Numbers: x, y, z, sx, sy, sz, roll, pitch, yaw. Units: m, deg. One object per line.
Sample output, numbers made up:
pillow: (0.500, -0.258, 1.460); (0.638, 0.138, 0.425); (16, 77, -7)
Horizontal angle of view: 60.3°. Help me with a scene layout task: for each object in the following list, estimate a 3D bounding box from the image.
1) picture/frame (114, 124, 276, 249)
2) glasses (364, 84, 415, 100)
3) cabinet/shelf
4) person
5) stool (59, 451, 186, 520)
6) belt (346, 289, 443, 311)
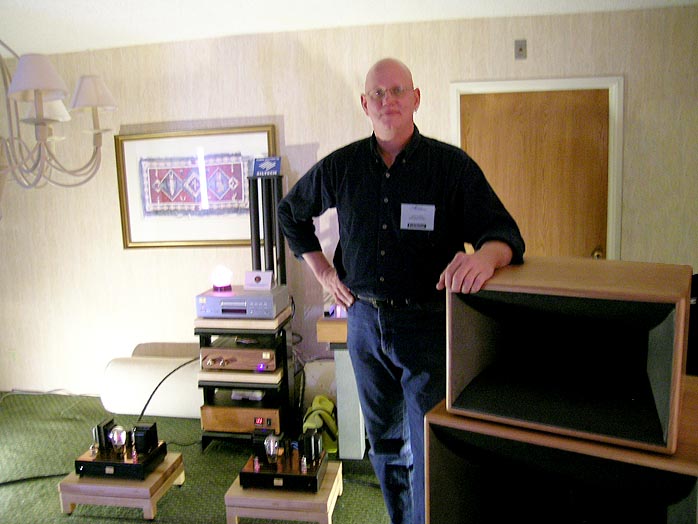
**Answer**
picture/frame: (-1.072, -0.582, 4.385); (0.837, 0.655, 0.034); (0, 8, 3)
glasses: (0.177, -0.732, 2.614); (0.200, 0.066, 0.071); (-3, 8, -1)
cabinet/shelf: (-0.708, 0.758, 4.109); (0.598, 0.879, 0.691); (1, 8, 13)
person: (0.260, 0.149, 2.725); (0.522, 2.087, 1.256); (-8, 9, -34)
stool: (-1.266, 1.237, 3.354); (0.415, 0.181, 0.427); (1, 7, 11)
belt: (0.220, 0.167, 2.622); (0.384, 0.074, 0.071); (0, 8, 20)
